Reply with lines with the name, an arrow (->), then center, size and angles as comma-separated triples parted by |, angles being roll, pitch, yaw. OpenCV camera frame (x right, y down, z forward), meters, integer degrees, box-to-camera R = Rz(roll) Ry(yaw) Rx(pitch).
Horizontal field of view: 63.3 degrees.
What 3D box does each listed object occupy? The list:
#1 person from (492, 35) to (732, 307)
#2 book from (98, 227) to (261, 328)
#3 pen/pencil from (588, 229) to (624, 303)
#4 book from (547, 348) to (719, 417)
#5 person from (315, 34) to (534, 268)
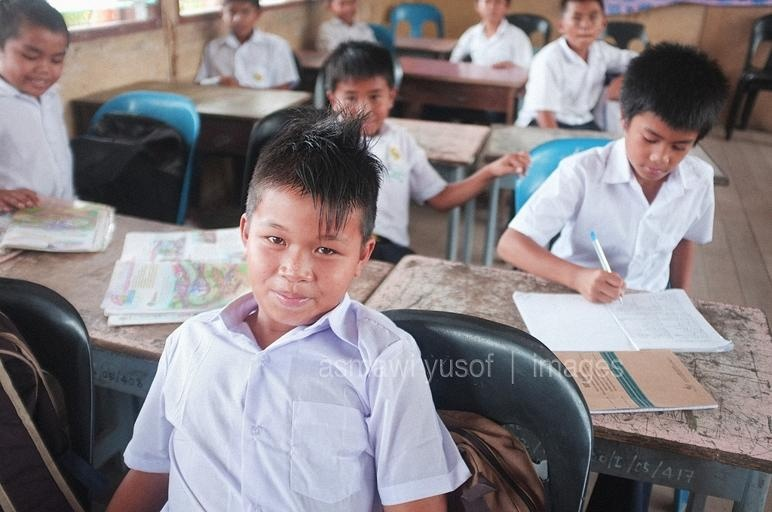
person -> 0.707, -0.194, 1.823 | 0.681, 0.769, 0.472 | -2, 31, -8
book -> -0.535, 0.054, 1.617 | 0.269, 0.030, 0.273 | 1, 32, -3
pen/pencil -> 0.608, 0.023, 1.735 | 0.024, 0.211, 0.029 | -17, -11, -44
book -> 0.543, 0.274, 1.372 | 0.300, 0.063, 0.164 | 1, 21, -3
person -> 0.127, -0.381, 2.002 | 0.668, 0.757, 0.315 | -12, 16, -12
